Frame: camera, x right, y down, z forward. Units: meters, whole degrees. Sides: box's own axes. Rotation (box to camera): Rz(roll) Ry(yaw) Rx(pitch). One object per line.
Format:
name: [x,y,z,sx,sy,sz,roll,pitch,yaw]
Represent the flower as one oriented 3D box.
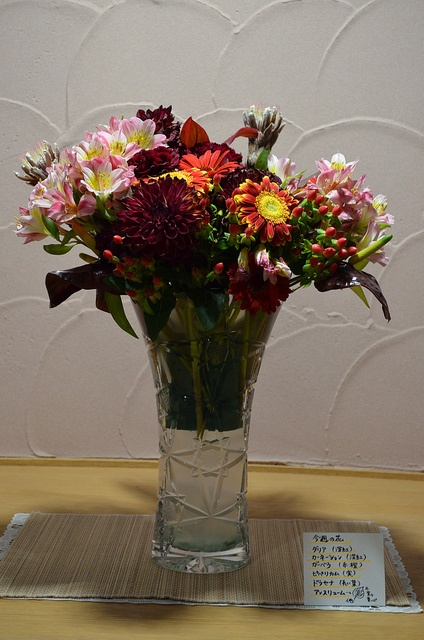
flower: [0.001,-0.048,0.728,0.424,0.330,0.246,6,-9,0]
